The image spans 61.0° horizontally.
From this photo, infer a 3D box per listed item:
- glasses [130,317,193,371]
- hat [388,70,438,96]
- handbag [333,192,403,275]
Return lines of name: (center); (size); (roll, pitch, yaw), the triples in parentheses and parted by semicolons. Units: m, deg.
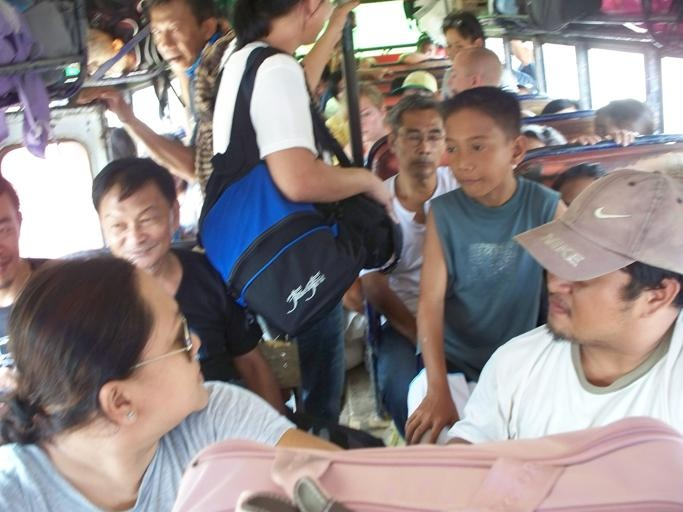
glasses: (-0.413, 0.205, 1.349); (0.105, 0.031, 0.102); (-18, 12, -5)
hat: (0.377, -0.867, 2.898); (0.173, 0.092, 0.123); (11, 7, -5)
handbag: (0.117, -0.071, 2.139); (0.292, 0.210, 0.294); (-5, -23, -19)
